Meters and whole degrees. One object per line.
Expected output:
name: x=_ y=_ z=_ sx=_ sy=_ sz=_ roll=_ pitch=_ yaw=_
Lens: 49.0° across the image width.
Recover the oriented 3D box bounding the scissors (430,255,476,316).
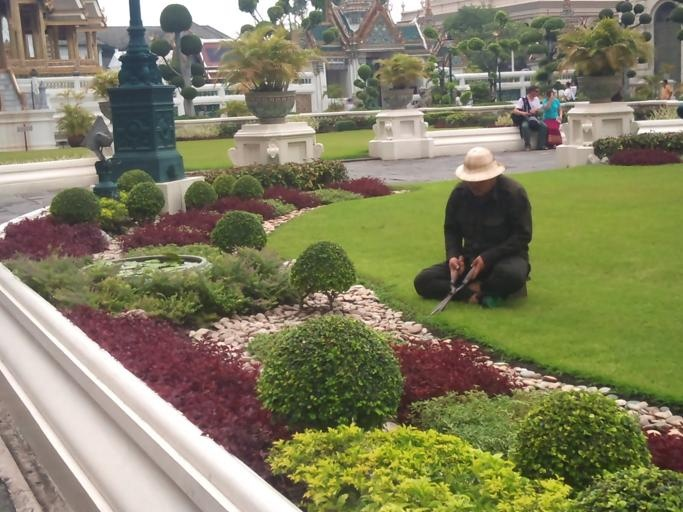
scissors: x=0.886 y=0.258 z=6.160 sx=0.349 sy=0.389 sz=0.296 roll=1 pitch=12 yaw=-7

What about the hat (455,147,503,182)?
hat: x=1.120 y=-0.715 z=6.073 sx=0.303 sy=0.158 sz=0.322 roll=-3 pitch=20 yaw=17

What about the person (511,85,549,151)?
person: x=4.760 y=-3.470 z=19.080 sx=0.841 sy=1.530 sz=1.569 roll=7 pitch=12 yaw=22

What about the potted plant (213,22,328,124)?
potted plant: x=-1.489 y=-3.590 z=14.839 sx=1.629 sy=1.899 sz=0.926 roll=1 pitch=11 yaw=-10

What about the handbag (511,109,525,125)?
handbag: x=4.516 y=-3.537 z=19.226 sx=0.267 sy=0.377 sz=0.137 roll=5 pitch=30 yaw=22

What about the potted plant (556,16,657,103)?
potted plant: x=5.223 y=-3.858 z=14.883 sx=1.764 sy=1.840 sz=1.614 roll=-1 pitch=-1 yaw=-2

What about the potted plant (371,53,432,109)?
potted plant: x=1.516 y=-4.484 z=19.277 sx=1.167 sy=1.427 sz=1.350 roll=3 pitch=12 yaw=1
